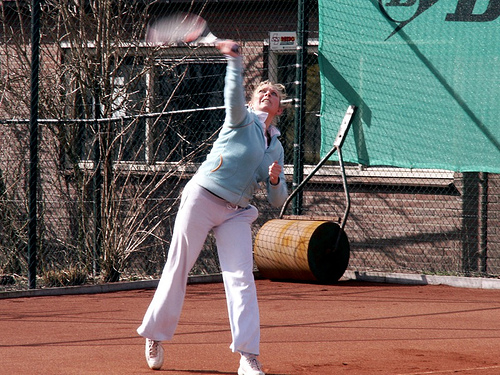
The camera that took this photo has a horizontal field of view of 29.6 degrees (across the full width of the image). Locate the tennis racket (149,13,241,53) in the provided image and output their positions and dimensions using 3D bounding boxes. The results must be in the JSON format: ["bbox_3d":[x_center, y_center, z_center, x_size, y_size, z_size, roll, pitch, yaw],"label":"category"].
[{"bbox_3d":[-0.554,-1.375,8.005,0.882,0.328,0.375,-3,-19,-5],"label":"tennis racket"}]

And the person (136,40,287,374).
[{"bbox_3d":[-0.273,0.172,8.388,1.265,2.899,0.620,-1,3,-8],"label":"person"}]

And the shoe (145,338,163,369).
[{"bbox_3d":[-0.851,1.503,8.443,0.094,0.321,0.128,-3,-37,-5],"label":"shoe"}]
